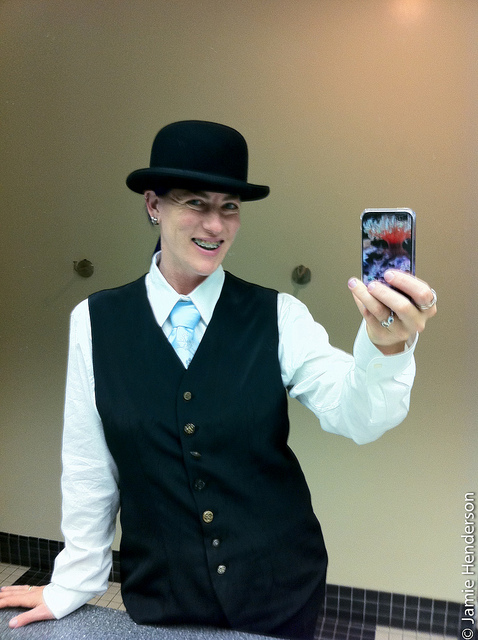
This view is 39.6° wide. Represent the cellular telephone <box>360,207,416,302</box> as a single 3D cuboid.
[{"bbox_3d":[0.276,-0.114,1.262,0.118,0.189,0.022,-3,8,-21],"label":"cellular telephone"}]

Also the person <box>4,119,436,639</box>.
[{"bbox_3d":[-0.080,0.152,1.496,1.050,1.157,0.559,-14,-18,21],"label":"person"}]

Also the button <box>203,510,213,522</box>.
[{"bbox_3d":[-0.068,0.425,1.443,0.021,0.026,0.008,-6,-17,-5],"label":"button"}]

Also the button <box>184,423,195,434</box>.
[{"bbox_3d":[-0.107,0.236,1.443,0.022,0.022,0.005,-8,-17,2],"label":"button"}]

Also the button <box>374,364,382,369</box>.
[{"bbox_3d":[0.263,0.087,1.258,0.017,0.007,0.003,0,9,0],"label":"button"}]

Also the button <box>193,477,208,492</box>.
[{"bbox_3d":[-0.084,0.357,1.445,0.032,0.028,0.030,6,23,-4],"label":"button"}]

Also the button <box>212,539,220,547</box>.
[{"bbox_3d":[-0.051,0.485,1.448,0.017,0.016,0.006,-5,-17,-8],"label":"button"}]

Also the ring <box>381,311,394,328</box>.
[{"bbox_3d":[0.263,-0.003,1.172,0.023,0.024,0.014,1,-7,-17],"label":"ring"}]

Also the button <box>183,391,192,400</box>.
[{"bbox_3d":[-0.113,0.166,1.453,0.020,0.016,0.004,-4,-2,-2],"label":"button"}]

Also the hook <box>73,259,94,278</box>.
[{"bbox_3d":[-0.747,-0.252,3.221,0.076,0.079,0.066,-19,-19,34],"label":"hook"}]

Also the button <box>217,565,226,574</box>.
[{"bbox_3d":[-0.037,0.540,1.443,0.020,0.016,0.004,-6,4,-13],"label":"button"}]

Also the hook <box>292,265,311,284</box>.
[{"bbox_3d":[0.277,-0.197,2.943,0.087,0.055,0.084,-4,9,-31],"label":"hook"}]
